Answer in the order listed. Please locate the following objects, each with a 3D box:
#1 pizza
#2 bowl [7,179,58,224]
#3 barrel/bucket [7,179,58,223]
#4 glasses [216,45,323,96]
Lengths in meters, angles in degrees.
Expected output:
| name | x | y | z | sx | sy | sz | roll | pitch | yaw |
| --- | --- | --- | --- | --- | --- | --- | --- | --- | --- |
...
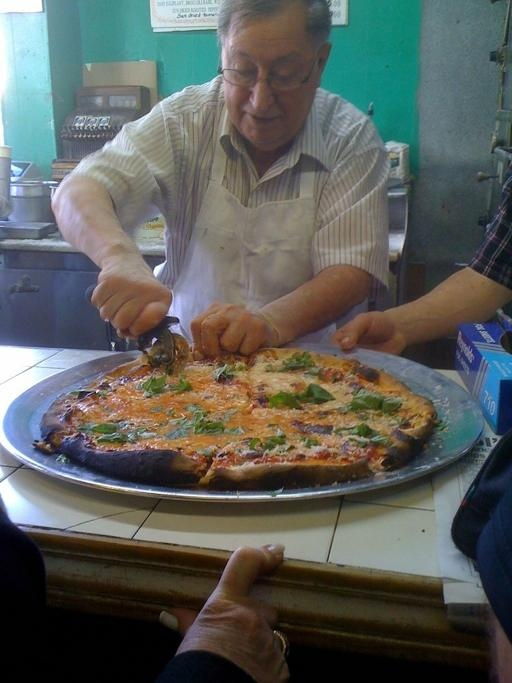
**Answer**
| name | x | y | z | sx | sy | sz | roll | pitch | yaw |
| --- | --- | --- | --- | --- | --- | --- | --- | --- | --- |
| pizza | -0.028 | 0.092 | 0.965 | 0.641 | 0.074 | 0.570 | 4 | 19 | 9 |
| bowl | -1.104 | -0.682 | 2.875 | 0.270 | 0.236 | 0.254 | 1 | 13 | 0 |
| barrel/bucket | -1.093 | -0.684 | 2.887 | 0.270 | 0.236 | 0.254 | 1 | 12 | 0 |
| glasses | 0.032 | -0.625 | 1.332 | 0.207 | 0.079 | 0.105 | -1 | 20 | -5 |
